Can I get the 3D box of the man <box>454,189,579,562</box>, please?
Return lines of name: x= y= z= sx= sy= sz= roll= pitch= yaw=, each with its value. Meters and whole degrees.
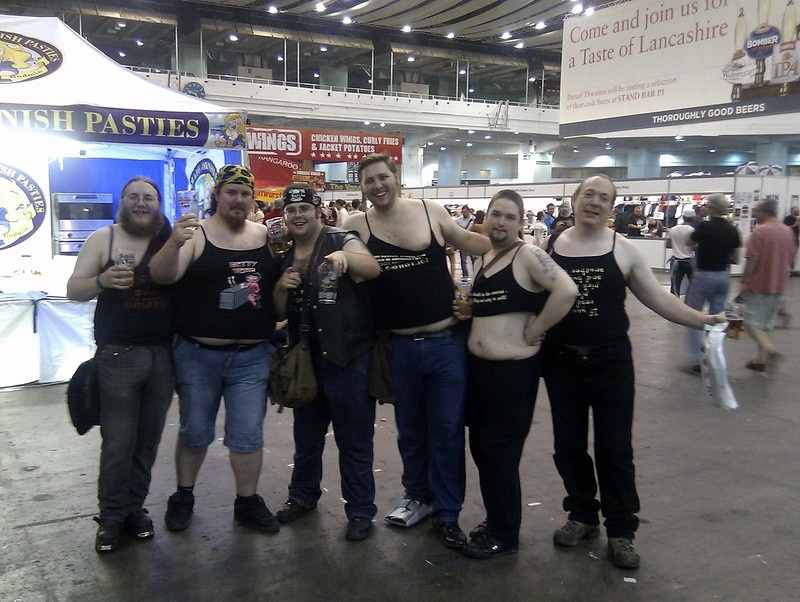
man: x=0.574 y=0.428 z=3.661 sx=0.603 sy=2.148 sz=0.601 roll=-7 pitch=16 yaw=-29

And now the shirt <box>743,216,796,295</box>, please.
shirt: x=4.926 y=-0.573 z=8.068 sx=0.717 sy=0.982 sz=0.412 roll=-4 pitch=14 yaw=-19

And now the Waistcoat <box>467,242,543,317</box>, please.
Waistcoat: x=0.589 y=-0.102 z=3.636 sx=0.470 sy=0.388 sz=0.434 roll=19 pitch=-2 yaw=-14

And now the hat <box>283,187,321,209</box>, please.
hat: x=-0.618 y=-0.650 z=3.820 sx=0.228 sy=0.117 sz=0.157 roll=-1 pitch=12 yaw=-9

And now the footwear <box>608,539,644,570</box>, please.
footwear: x=1.334 y=1.459 z=3.583 sx=0.186 sy=0.148 sz=0.221 roll=3 pitch=12 yaw=10

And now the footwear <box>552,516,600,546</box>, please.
footwear: x=1.076 y=1.448 z=3.838 sx=0.330 sy=0.118 sz=0.126 roll=0 pitch=-1 yaw=-23

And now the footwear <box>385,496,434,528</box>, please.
footwear: x=0.059 y=1.398 z=4.033 sx=0.167 sy=0.082 sz=0.286 roll=-1 pitch=-2 yaw=33

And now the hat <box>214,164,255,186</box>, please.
hat: x=-1.040 y=-0.796 z=3.830 sx=0.205 sy=0.094 sz=0.174 roll=2 pitch=2 yaw=-7

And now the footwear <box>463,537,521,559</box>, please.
footwear: x=0.537 y=1.470 z=3.635 sx=0.333 sy=0.103 sz=0.113 roll=2 pitch=1 yaw=-8

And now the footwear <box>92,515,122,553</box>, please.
footwear: x=-1.751 y=1.384 z=3.648 sx=0.161 sy=0.169 sz=0.203 roll=-5 pitch=13 yaw=-24

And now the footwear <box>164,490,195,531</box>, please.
footwear: x=-1.423 y=1.316 z=3.946 sx=0.192 sy=0.128 sz=0.331 roll=11 pitch=31 yaw=-9

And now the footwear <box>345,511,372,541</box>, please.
footwear: x=-0.256 y=1.417 z=3.857 sx=0.173 sy=0.114 sz=0.229 roll=1 pitch=11 yaw=-1

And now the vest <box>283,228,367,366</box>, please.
vest: x=-0.443 y=-0.036 z=3.851 sx=0.460 sy=0.830 sz=0.395 roll=14 pitch=18 yaw=42

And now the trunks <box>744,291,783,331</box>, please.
trunks: x=4.867 y=0.166 z=8.234 sx=0.463 sy=0.487 sz=0.354 roll=23 pitch=-20 yaw=-40

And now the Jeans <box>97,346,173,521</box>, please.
Jeans: x=-1.708 y=0.798 z=3.785 sx=0.306 sy=1.066 sz=0.533 roll=10 pitch=16 yaw=31

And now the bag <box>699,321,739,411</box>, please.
bag: x=1.862 y=0.396 z=3.637 sx=0.170 sy=0.419 sz=0.367 roll=2 pitch=4 yaw=16
